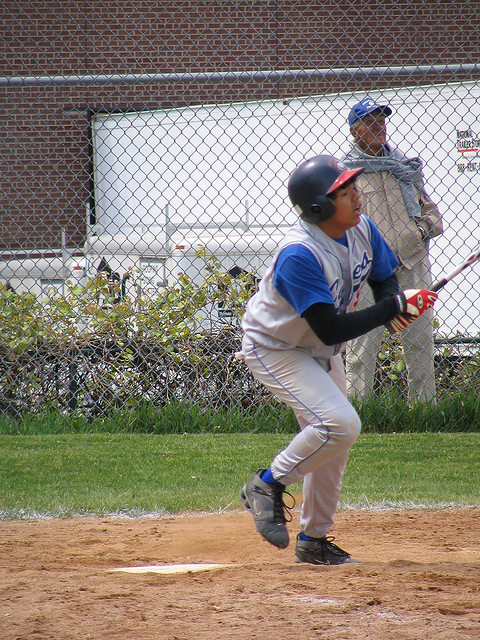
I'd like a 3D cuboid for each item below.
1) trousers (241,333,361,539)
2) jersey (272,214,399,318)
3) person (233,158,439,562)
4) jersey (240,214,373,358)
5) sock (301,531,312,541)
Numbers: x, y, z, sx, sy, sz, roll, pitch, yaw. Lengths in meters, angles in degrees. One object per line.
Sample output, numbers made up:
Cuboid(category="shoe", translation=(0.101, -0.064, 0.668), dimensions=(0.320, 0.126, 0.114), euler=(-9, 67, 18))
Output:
Cuboid(category="trousers", translation=(0.280, 0.484, 4.508), dimensions=(0.396, 0.838, 0.455), euler=(-3, 9, -22))
Cuboid(category="jersey", translation=(0.359, -0.246, 4.470), dimensions=(0.325, 0.362, 0.597), euler=(23, 35, 36))
Cuboid(category="person", translation=(0.268, 0.176, 4.752), dimensions=(0.692, 1.698, 1.040), euler=(-4, 9, -23))
Cuboid(category="jersey", translation=(0.291, -0.147, 4.585), dimensions=(0.552, 0.558, 0.472), euler=(-7, 16, -19))
Cuboid(category="sock", translation=(0.276, 0.894, 4.548), dimensions=(0.031, 0.019, 0.031), euler=(0, -2, 29))
